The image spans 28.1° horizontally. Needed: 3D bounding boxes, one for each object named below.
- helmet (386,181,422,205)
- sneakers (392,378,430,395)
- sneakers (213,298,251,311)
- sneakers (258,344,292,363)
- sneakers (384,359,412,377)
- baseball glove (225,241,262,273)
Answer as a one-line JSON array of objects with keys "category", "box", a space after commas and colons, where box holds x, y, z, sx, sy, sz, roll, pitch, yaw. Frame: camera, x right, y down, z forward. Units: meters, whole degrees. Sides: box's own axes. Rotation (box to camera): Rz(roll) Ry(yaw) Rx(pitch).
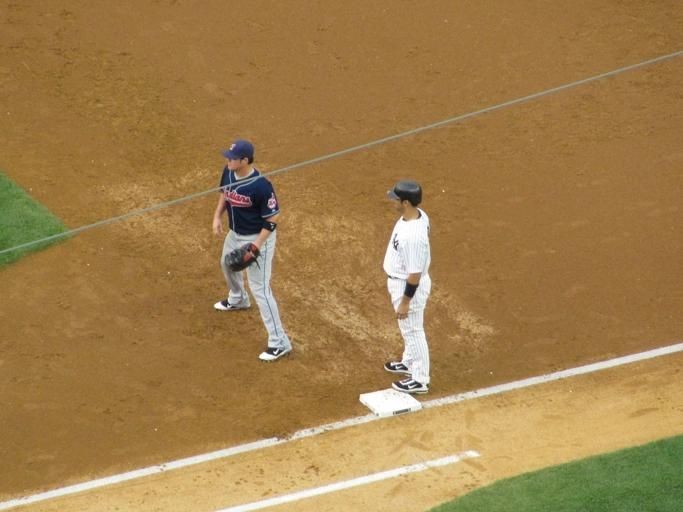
[{"category": "helmet", "box": [0.676, -0.689, 14.843, 0.348, 0.160, 0.237, 18, 53, 6]}, {"category": "sneakers", "box": [0.754, 1.449, 15.459, 0.438, 0.160, 0.177, 5, 93, -2]}, {"category": "sneakers", "box": [-1.325, 0.578, 16.526, 0.446, 0.152, 0.176, 4, 95, -3]}, {"category": "sneakers", "box": [-0.788, 1.114, 15.939, 0.348, 0.165, 0.141, -11, 110, -31]}, {"category": "sneakers", "box": [0.636, 1.268, 15.708, 0.322, 0.128, 0.115, 10, 111, -3]}, {"category": "baseball glove", "box": [-1.138, 0.002, 15.517, 0.377, 0.264, 0.134, -34, 97, -12]}]
